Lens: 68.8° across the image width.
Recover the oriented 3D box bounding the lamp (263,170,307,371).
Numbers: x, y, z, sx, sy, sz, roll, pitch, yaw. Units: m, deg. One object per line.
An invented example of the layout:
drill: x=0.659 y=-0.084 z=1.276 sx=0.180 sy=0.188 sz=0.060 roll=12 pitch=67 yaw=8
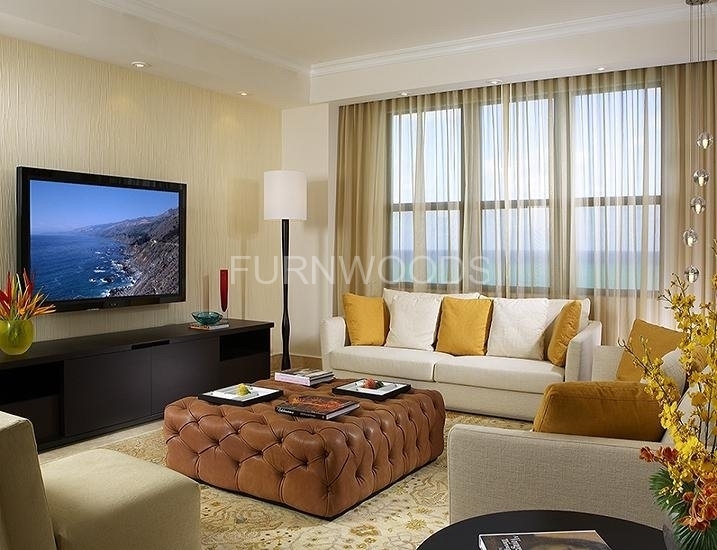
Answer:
lamp: x=-0.804 y=-0.095 z=5.810 sx=0.427 sy=2.203 sz=0.937 roll=-2 pitch=6 yaw=-10

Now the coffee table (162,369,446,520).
coffee table: x=-0.185 y=0.944 z=2.998 sx=0.825 sy=0.298 sz=0.788 roll=2 pitch=3 yaw=34

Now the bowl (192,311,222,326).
bowl: x=-1.445 y=0.403 z=4.945 sx=0.201 sy=0.079 sz=0.198 roll=2 pitch=-2 yaw=0

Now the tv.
tv: x=-2.262 y=-0.308 z=4.520 sx=0.099 sy=1.009 sz=1.304 roll=3 pitch=3 yaw=37
